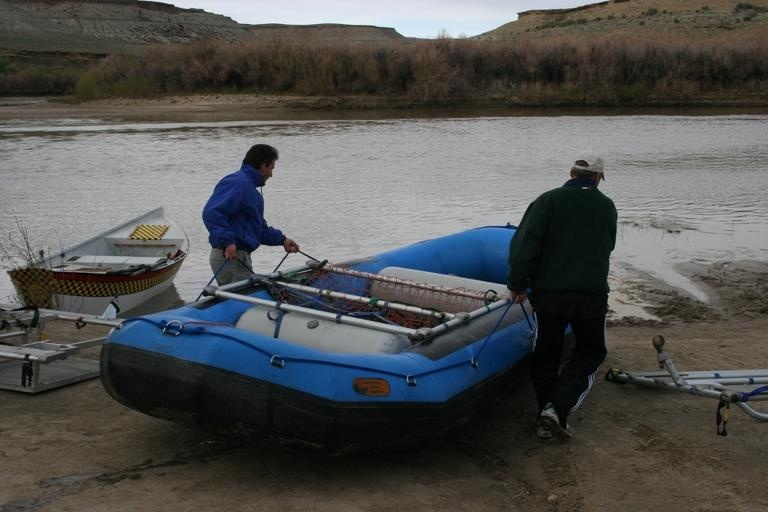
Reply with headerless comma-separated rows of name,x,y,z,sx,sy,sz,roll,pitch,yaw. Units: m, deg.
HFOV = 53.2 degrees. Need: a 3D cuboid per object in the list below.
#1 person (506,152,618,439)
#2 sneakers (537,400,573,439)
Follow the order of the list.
person,1.693,0.371,7.110,0.985,2.554,0.753,-12,18,-36
sneakers,1.523,1.506,7.033,0.205,0.450,0.197,-1,56,40
